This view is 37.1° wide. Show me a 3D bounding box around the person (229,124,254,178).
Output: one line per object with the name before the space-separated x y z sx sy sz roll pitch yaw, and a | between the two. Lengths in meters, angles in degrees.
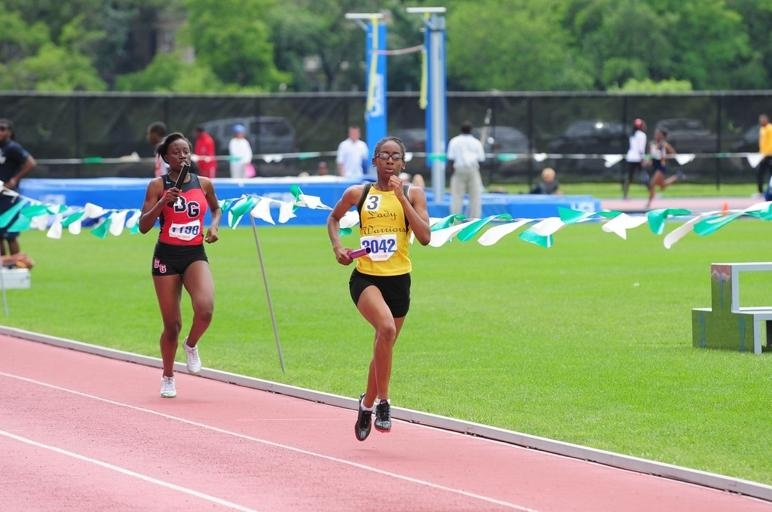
person | -3.942 -2.811 31.471 0.592 1.478 1.368 -2 10 -7

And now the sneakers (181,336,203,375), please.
sneakers | -1.997 1.061 12.164 0.168 0.406 0.187 -15 8 -28

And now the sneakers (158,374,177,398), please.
sneakers | -2.238 1.353 11.857 0.199 0.198 0.476 2 -7 -14

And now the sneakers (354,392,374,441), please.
sneakers | -0.218 1.473 10.500 0.157 0.433 0.189 2 -7 -11

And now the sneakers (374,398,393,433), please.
sneakers | -0.033 1.438 10.396 0.130 0.142 0.334 -1 40 -5

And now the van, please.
van | -4.172 -3.729 35.329 2.472 1.086 1.235 1 6 -2

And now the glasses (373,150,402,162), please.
glasses | 0.002 -0.901 10.471 0.231 0.078 0.080 0 10 5

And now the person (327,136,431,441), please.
person | -0.057 0.301 10.578 0.822 2.733 0.794 -7 12 -33

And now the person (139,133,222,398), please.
person | -2.102 0.099 11.754 0.725 2.675 0.555 -2 10 -9
